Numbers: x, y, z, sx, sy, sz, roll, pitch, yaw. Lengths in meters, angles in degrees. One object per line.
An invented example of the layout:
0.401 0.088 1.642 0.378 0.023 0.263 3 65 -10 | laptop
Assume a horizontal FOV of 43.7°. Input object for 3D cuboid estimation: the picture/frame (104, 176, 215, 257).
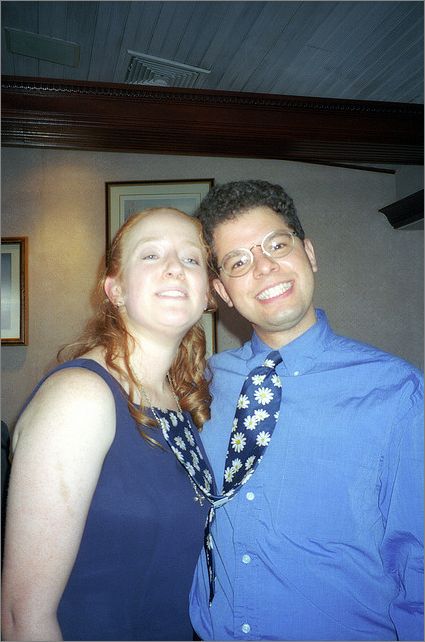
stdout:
-0.326 -0.634 3.300 0.774 0.757 0.031 -3 -37 -7 | picture/frame
